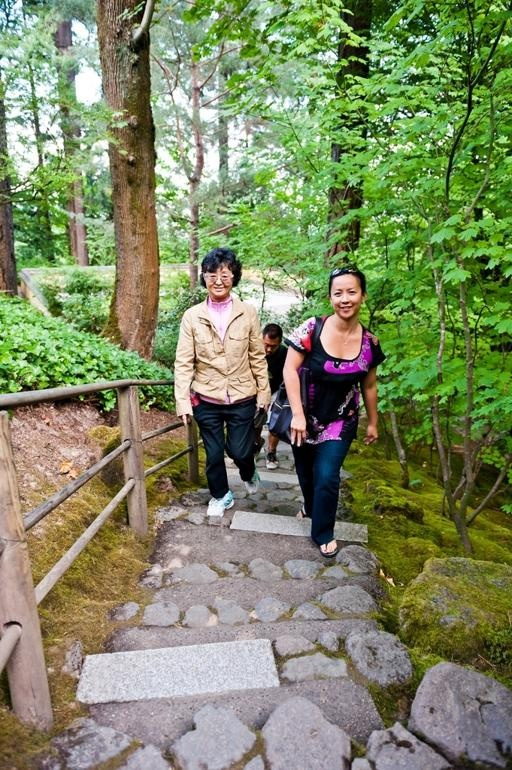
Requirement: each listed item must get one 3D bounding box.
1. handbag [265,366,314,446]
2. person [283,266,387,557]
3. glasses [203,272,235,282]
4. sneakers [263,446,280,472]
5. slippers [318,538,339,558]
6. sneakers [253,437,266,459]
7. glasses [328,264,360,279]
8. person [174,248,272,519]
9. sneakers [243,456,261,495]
[{"bbox_3d":[0.197,0.097,3.015,0.137,0.415,0.294,5,-2,-26],"label":"handbag"},{"bbox_3d":[0.394,0.162,2.934,0.474,1.545,0.435,5,10,28],"label":"person"},{"bbox_3d":[-0.230,-0.653,3.304,0.185,0.073,0.130,0,8,-5],"label":"glasses"},{"bbox_3d":[0.146,0.730,5.277,0.191,0.220,0.565,0,-6,3],"label":"sneakers"},{"bbox_3d":[0.390,0.896,2.958,0.069,0.073,0.173,0,-14,1],"label":"slippers"},{"bbox_3d":[0.024,0.508,4.509,0.102,0.112,0.288,-1,-15,3],"label":"sneakers"},{"bbox_3d":[0.442,-0.554,2.688,0.134,0.064,0.086,-2,9,-23],"label":"glasses"},{"bbox_3d":[-0.203,0.001,3.464,0.661,1.684,0.339,-7,11,-42],"label":"person"},{"bbox_3d":[-0.018,0.679,3.951,0.101,0.297,0.125,-4,22,7],"label":"sneakers"}]
